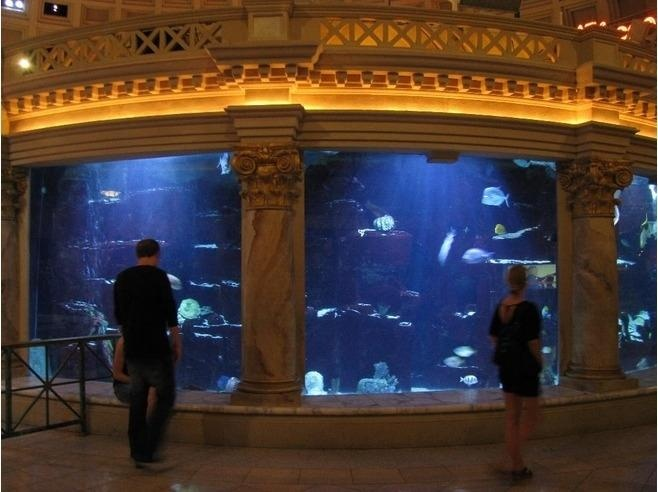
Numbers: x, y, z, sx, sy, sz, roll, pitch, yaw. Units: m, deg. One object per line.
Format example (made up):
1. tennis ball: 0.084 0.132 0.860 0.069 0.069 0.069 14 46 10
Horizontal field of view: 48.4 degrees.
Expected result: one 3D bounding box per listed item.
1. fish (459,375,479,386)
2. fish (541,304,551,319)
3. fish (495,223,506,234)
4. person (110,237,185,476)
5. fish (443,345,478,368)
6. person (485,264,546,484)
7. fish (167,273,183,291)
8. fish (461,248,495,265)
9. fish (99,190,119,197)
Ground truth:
1. fish: 2.673 2.509 13.723 0.458 0.285 0.136 3 -8 -6
2. fish: 4.140 1.262 14.002 0.158 0.244 0.253 3 14 0
3. fish: 3.263 -0.307 14.024 0.235 0.198 0.025 -2 1 -11
4. person: -2.804 1.571 11.328 1.297 3.217 1.042 -1 -1 36
5. fish: 2.428 2.067 13.712 0.626 0.407 0.024 -2 1 -5
6. person: 2.770 1.877 10.834 0.728 3.140 0.350 -1 1 12
7. fish: -2.825 0.641 13.164 0.141 0.415 0.161 -39 -16 23
8. fish: 2.799 0.190 13.892 0.613 0.291 0.082 -2 1 -16
9. fish: -4.311 -0.997 14.214 0.389 0.144 0.073 0 2 25
